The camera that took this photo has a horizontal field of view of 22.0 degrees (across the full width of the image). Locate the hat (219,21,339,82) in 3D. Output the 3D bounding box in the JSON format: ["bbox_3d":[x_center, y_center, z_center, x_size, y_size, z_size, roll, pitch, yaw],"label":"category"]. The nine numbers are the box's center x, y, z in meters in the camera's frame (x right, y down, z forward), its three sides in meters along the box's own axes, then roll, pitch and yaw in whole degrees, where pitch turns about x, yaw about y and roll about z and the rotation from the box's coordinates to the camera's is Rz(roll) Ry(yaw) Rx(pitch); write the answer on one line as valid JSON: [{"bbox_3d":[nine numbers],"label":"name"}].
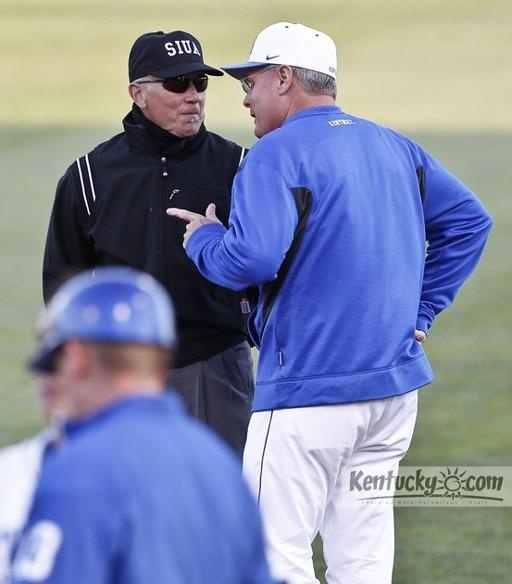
[{"bbox_3d":[0.060,-0.641,3.504,0.324,0.166,0.222,6,-1,-16],"label":"hat"}]

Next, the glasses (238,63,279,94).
[{"bbox_3d":[-0.001,-0.568,3.497,0.069,0.021,0.067,-24,-1,-8],"label":"glasses"}]

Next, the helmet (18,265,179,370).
[{"bbox_3d":[-0.270,0.040,2.281,0.211,0.118,0.157,4,3,37],"label":"helmet"}]

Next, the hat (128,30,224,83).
[{"bbox_3d":[-0.249,-0.708,3.916,0.297,0.147,0.229,2,12,34],"label":"hat"}]
